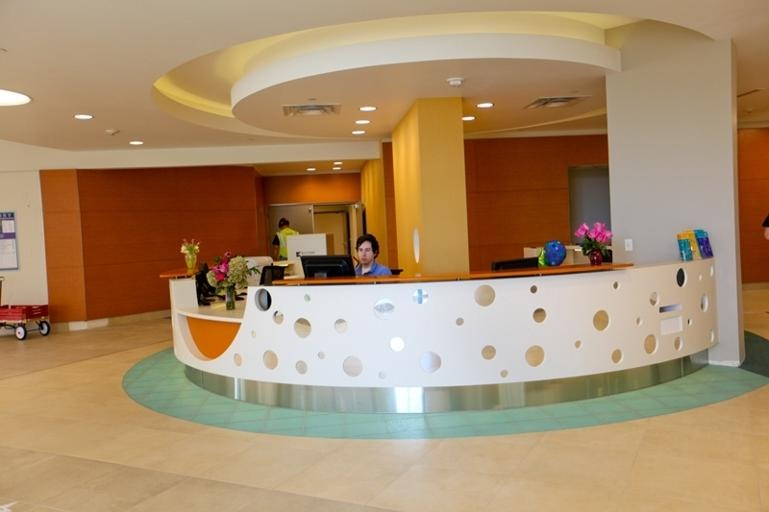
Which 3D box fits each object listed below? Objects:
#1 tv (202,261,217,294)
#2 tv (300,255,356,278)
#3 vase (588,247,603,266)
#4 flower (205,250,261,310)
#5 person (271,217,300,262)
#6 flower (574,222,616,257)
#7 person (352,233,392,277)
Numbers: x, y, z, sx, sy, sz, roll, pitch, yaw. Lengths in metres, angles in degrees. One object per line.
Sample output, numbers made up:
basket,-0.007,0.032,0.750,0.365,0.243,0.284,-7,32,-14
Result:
tv,-2.587,0.285,7.847,0.117,0.441,0.355,-11,-10,-12
tv,-0.661,0.114,6.290,0.683,0.269,0.192,2,11,28
vase,2.510,0.010,6.479,0.182,0.215,0.186,-5,-11,40
flower,-2.026,0.330,7.108,0.607,0.736,0.355,3,11,35
person,-2.264,-0.343,12.228,0.481,0.990,2.305,-5,9,-11
flower,2.570,-0.151,6.544,0.395,0.387,0.436,2,-13,-1
person,-0.143,-0.024,8.303,0.759,0.720,0.444,0,2,16
